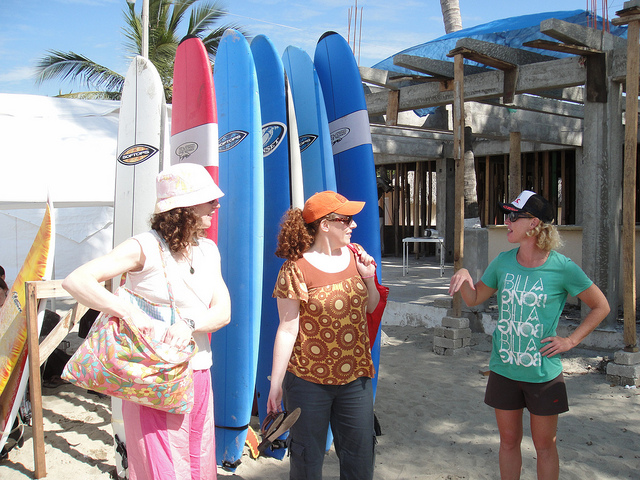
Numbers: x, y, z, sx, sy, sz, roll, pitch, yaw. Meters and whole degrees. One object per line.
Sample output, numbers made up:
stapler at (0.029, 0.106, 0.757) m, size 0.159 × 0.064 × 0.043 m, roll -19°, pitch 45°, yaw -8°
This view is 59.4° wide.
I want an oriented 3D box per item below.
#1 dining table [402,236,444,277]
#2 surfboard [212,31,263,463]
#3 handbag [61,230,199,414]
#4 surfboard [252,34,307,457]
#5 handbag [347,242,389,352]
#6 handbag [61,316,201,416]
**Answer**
dining table at (2.176, 0.387, 11.808) m, size 0.864 × 0.846 × 0.767 m, roll 0°, pitch 4°, yaw 6°
surfboard at (-0.623, 0.029, 4.251) m, size 0.435 × 3.045 × 0.311 m, roll 2°, pitch -3°, yaw -1°
handbag at (-0.912, 0.413, 2.743) m, size 0.613 × 0.913 × 0.201 m, roll 1°, pitch 1°, yaw -3°
surfboard at (-0.267, -0.005, 4.523) m, size 0.297 × 3.140 × 0.548 m, roll 4°, pitch -4°, yaw -34°
handbag at (0.329, 0.342, 3.152) m, size 0.173 × 0.646 × 0.084 m, roll 8°, pitch 5°, yaw 45°
handbag at (-0.889, 0.572, 2.810) m, size 0.621 × 0.445 × 0.349 m, roll 20°, pitch 10°, yaw -18°
